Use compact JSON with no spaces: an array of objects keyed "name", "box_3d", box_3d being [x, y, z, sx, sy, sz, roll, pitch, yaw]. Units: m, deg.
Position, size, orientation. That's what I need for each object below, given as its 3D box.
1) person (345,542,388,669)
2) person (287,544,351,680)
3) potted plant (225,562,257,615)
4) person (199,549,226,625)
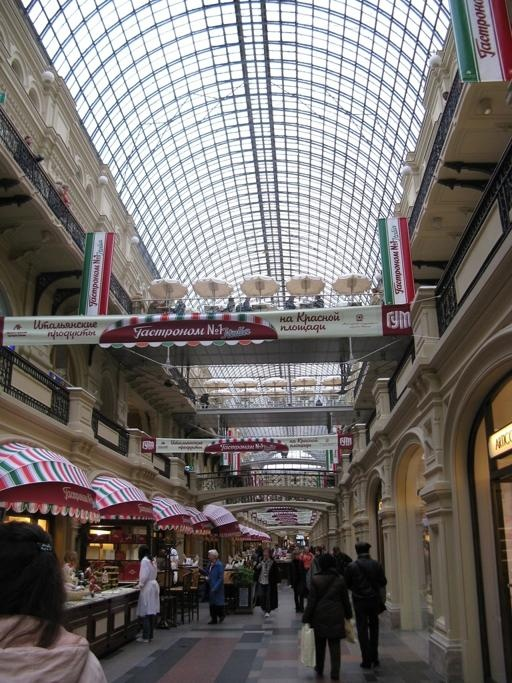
[{"name":"person","box_3d":[2.021,4.809,9.612,0.729,2.131,0.678,-4,-1,-6]},{"name":"person","box_3d":[1.126,4.481,8.353,0.778,1.847,1.286,2,-25,0]},{"name":"potted plant","box_3d":[-0.624,9.224,19.001,0.927,1.533,2.379,7,-26,-11]},{"name":"person","box_3d":[-1.259,7.635,15.986,0.565,2.078,1.329,3,-26,-3]}]
